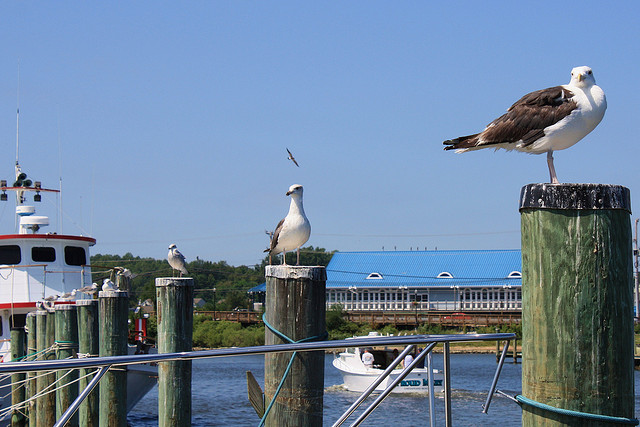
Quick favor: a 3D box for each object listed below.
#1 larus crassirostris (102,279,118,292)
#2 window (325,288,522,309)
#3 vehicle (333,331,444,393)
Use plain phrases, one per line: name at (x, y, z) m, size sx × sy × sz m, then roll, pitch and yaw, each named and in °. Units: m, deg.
larus crassirostris at (-5.476, 1.851, 37.586) m, size 0.305 × 0.371 × 0.467 m, roll -2°, pitch -2°, yaw 8°
window at (6.093, 4.820, 82.788) m, size 10.411 × 1.245 × 2.308 m, roll -2°, pitch -4°, yaw 19°
vehicle at (2.336, 5.565, 50.911) m, size 2.425 × 1.749 × 4.928 m, roll 1°, pitch 1°, yaw -25°
